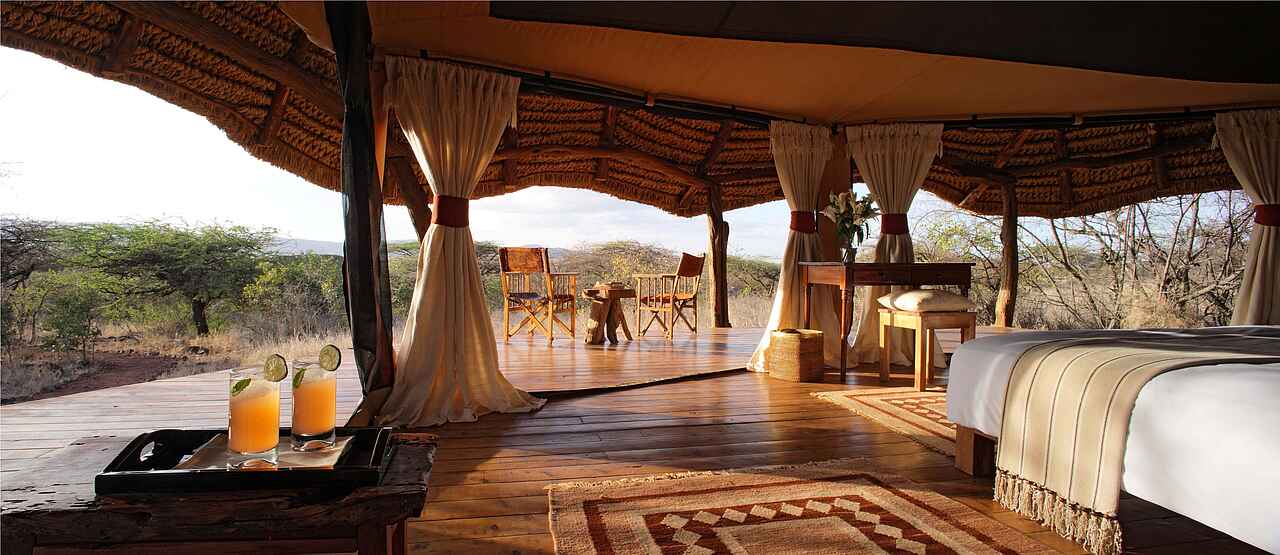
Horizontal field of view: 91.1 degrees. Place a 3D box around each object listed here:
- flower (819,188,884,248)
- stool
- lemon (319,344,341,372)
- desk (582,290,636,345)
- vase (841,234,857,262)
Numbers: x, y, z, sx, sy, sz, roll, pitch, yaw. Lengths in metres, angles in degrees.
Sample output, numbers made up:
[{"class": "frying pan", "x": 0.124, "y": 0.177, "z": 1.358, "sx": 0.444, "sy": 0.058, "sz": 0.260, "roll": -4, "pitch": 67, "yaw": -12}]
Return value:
[{"class": "flower", "x": 2.980, "y": -0.794, "z": 8.741, "sx": 0.727, "sy": 0.823, "sz": 0.326, "roll": -1, "pitch": -1, "yaw": 15}, {"class": "stool", "x": 3.773, "y": 0.969, "z": 8.562, "sx": 1.410, "sy": 1.026, "sz": 1.211, "roll": 2, "pitch": -4, "yaw": -16}, {"class": "lemon", "x": -2.930, "y": 0.755, "z": 5.864, "sx": 0.194, "sy": 0.229, "sz": 0.229, "roll": 0, "pitch": -1, "yaw": -25}, {"class": "desk", "x": -0.561, "y": 0.528, "z": 10.533, "sx": 0.817, "sy": 0.712, "sz": 0.708, "roll": 9, "pitch": 9, "yaw": -21}, {"class": "vase", "x": 2.915, "y": -0.407, "z": 8.625, "sx": 0.217, "sy": 0.414, "sz": 0.463, "roll": 0, "pitch": -1, "yaw": 17}]
